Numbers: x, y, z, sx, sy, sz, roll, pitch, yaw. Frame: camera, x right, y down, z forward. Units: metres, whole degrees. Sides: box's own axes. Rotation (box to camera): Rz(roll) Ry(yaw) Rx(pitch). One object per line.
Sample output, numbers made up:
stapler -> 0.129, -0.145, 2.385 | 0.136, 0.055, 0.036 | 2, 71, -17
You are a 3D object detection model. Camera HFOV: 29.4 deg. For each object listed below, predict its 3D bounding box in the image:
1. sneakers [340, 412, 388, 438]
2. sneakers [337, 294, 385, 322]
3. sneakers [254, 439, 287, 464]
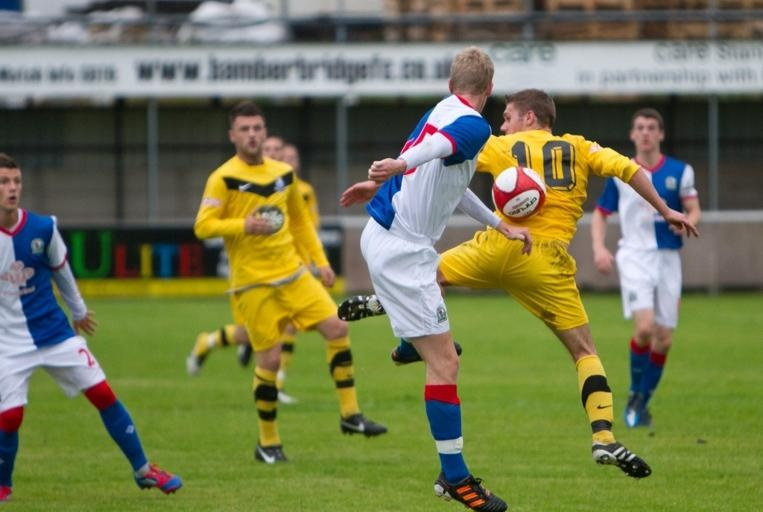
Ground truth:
sneakers -> -0.226, 1.816, 15.860 | 0.548, 0.249, 0.216 | 2, 4, 11
sneakers -> -0.212, 0.521, 14.867 | 0.573, 0.205, 0.259 | -3, 18, 5
sneakers -> -1.165, 2.046, 15.177 | 0.403, 0.178, 0.148 | 2, 5, 21
